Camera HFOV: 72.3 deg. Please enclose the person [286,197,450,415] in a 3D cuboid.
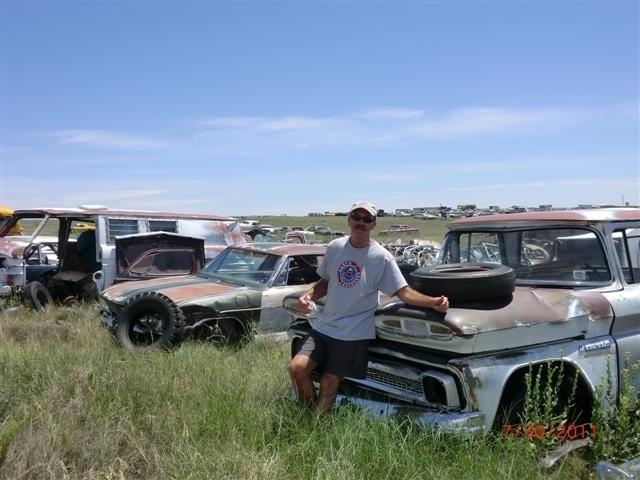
[{"bbox_3d":[0.316,0.580,3.912,1.197,1.860,0.581,-3,-2,9],"label":"person"}]
